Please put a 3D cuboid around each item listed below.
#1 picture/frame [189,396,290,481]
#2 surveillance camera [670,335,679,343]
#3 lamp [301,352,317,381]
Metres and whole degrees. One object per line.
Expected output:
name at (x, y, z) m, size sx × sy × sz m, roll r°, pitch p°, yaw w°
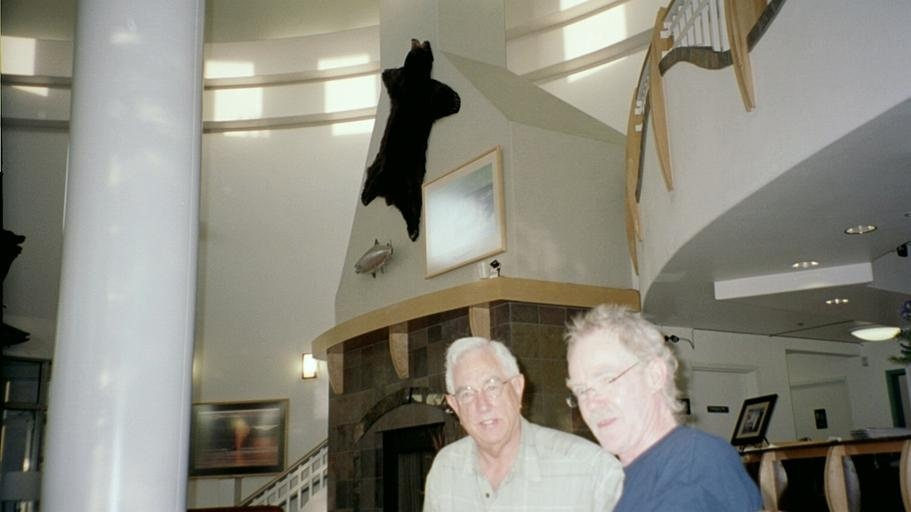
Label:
picture/frame at (-4.204, 3.575, 14.863) m, size 1.907 × 1.404 × 0.047 m, roll -1°, pitch -10°, yaw -6°
surveillance camera at (3.449, 1.312, 12.010) m, size 0.136 × 0.121 × 0.054 m, roll -20°, pitch -4°, yaw 32°
lamp at (-2.883, 2.175, 15.105) m, size 0.336 × 0.511 × 0.148 m, roll 1°, pitch -17°, yaw -5°
